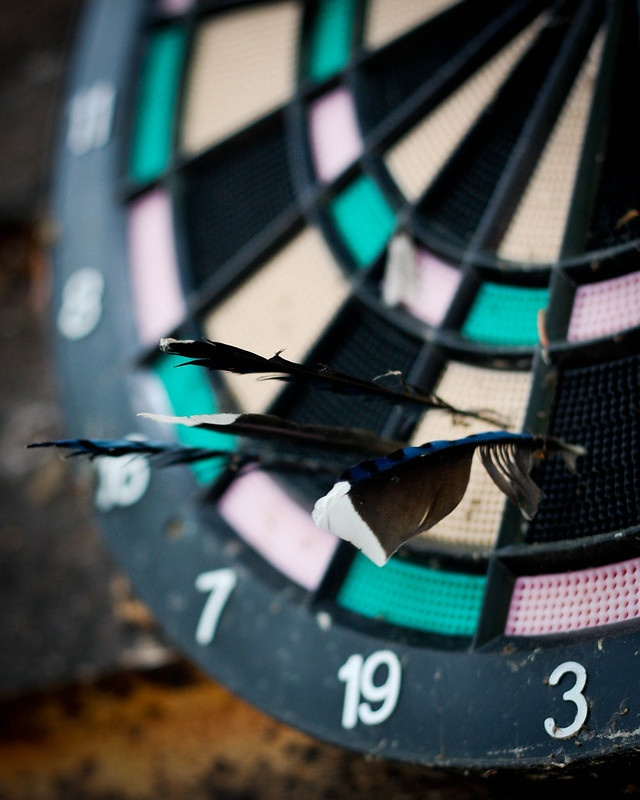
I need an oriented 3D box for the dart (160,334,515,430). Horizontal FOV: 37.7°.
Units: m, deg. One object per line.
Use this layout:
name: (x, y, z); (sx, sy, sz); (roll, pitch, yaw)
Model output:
dart: (0.068, -0.034, 1.897); (0.560, 0.068, 0.082); (13, 36, -6)
